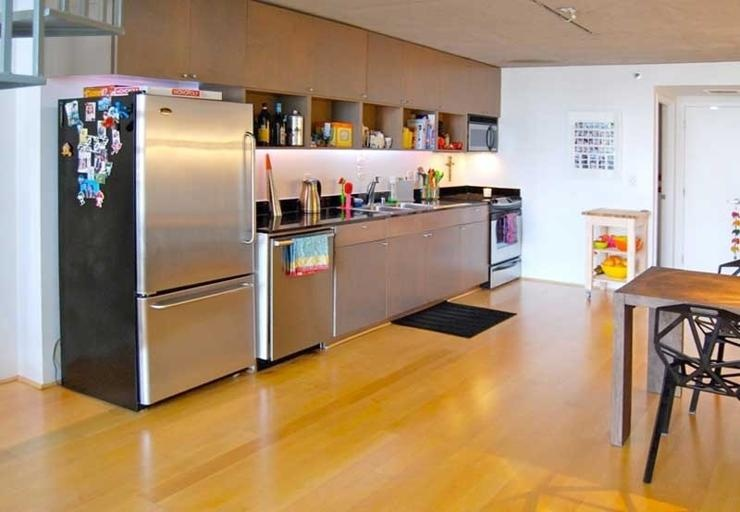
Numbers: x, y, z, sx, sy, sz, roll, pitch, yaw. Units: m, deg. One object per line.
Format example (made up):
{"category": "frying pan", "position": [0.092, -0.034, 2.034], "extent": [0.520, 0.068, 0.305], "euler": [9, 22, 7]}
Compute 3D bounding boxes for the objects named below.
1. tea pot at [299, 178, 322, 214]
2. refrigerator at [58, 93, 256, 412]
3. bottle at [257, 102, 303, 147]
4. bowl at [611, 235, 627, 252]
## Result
{"category": "tea pot", "position": [-0.615, -0.593, 5.434], "extent": [0.193, 0.317, 0.221], "euler": [-1, 13, -5]}
{"category": "refrigerator", "position": [-1.592, -0.066, 4.096], "extent": [1.501, 2.221, 0.819], "euler": [-5, 13, -20]}
{"category": "bottle", "position": [-0.840, -1.209, 5.054], "extent": [0.163, 0.418, 0.494], "euler": [4, 6, 44]}
{"category": "bowl", "position": [3.129, -0.168, 6.869], "extent": [0.204, 0.131, 0.204], "euler": [0, 2, 0]}
